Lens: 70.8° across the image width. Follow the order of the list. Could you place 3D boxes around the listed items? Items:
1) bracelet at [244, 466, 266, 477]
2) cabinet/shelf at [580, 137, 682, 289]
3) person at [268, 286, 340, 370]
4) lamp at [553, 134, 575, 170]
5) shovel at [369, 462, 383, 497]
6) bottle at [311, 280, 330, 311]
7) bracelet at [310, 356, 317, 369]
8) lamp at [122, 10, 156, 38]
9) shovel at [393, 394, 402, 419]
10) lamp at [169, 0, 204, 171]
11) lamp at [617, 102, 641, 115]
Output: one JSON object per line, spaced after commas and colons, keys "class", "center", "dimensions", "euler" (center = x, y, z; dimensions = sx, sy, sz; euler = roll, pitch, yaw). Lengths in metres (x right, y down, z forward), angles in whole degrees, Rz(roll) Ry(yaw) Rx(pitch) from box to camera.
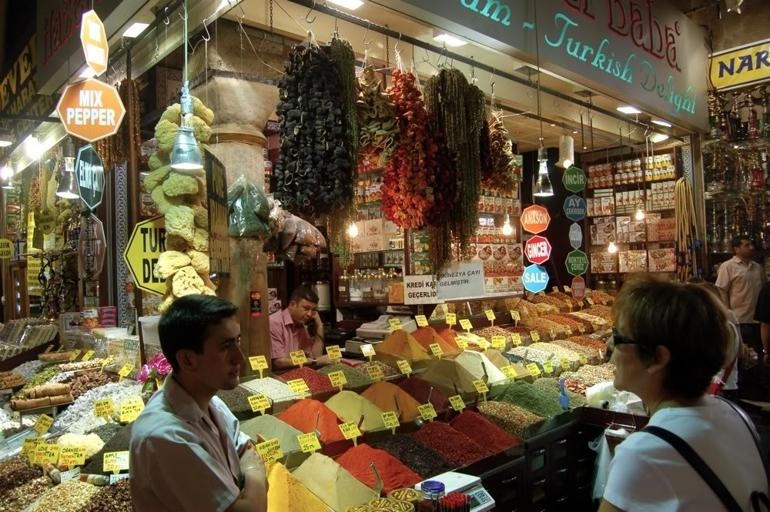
{"class": "bracelet", "center": [-0.621, 1.014, 2.577], "dimensions": [0.049, 0.042, 0.054], "euler": [-3, -13, 16]}
{"class": "cabinet/shelf", "center": [3.739, -0.636, 8.235], "dimensions": [1.363, 2.009, 0.691], "euler": [-2, -1, 37]}
{"class": "person", "center": [-0.830, 0.642, 5.085], "dimensions": [0.496, 0.712, 1.143], "euler": [-1, 0, -10]}
{"class": "lamp", "center": [2.057, -1.171, 6.157], "dimensions": [0.212, 0.361, 0.220], "euler": [19, -18, -41]}
{"class": "shovel", "center": [-0.047, 1.349, 3.286], "dimensions": [0.074, 0.125, 0.171], "euler": [-1, 0, -11]}
{"class": "bottle", "center": [-0.921, 0.579, 7.952], "dimensions": [0.310, 0.506, 0.479], "euler": [-1, -2, 1]}
{"class": "bracelet", "center": [-0.629, 0.930, 4.728], "dimensions": [0.060, 0.099, 0.092], "euler": [8, -40, -19]}
{"class": "lamp", "center": [-1.953, -1.820, 4.259], "dimensions": [0.152, 0.042, 0.172], "euler": [-31, 3, 14]}
{"class": "shovel", "center": [0.091, 1.078, 3.888], "dimensions": [0.049, 0.109, 0.137], "euler": [-1, 0, -2]}
{"class": "lamp", "center": [-1.316, -1.180, 3.573], "dimensions": [0.189, 1.314, 0.829], "euler": [-1, -1, -20]}
{"class": "lamp", "center": [2.602, -1.548, 5.728], "dimensions": [0.182, 0.049, 0.200], "euler": [3, 0, -30]}
